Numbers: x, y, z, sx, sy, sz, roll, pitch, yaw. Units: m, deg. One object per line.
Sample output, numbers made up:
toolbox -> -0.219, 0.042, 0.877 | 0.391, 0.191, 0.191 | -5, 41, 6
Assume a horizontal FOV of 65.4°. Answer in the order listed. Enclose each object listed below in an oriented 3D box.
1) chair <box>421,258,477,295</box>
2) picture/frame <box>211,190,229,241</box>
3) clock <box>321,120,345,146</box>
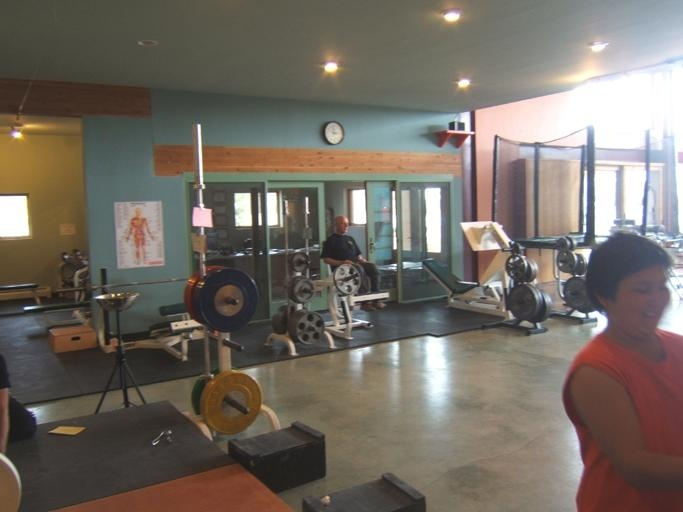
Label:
chair -> 1.856, 0.382, 9.154 | 0.935, 0.354, 0.520 | 22, 8, 38
picture/frame -> -1.835, -0.627, 8.072 | 0.244, 0.751, 0.108 | -4, 9, -17
clock -> -0.164, -2.077, 8.956 | 0.392, 0.377, 0.052 | -22, 15, -34
